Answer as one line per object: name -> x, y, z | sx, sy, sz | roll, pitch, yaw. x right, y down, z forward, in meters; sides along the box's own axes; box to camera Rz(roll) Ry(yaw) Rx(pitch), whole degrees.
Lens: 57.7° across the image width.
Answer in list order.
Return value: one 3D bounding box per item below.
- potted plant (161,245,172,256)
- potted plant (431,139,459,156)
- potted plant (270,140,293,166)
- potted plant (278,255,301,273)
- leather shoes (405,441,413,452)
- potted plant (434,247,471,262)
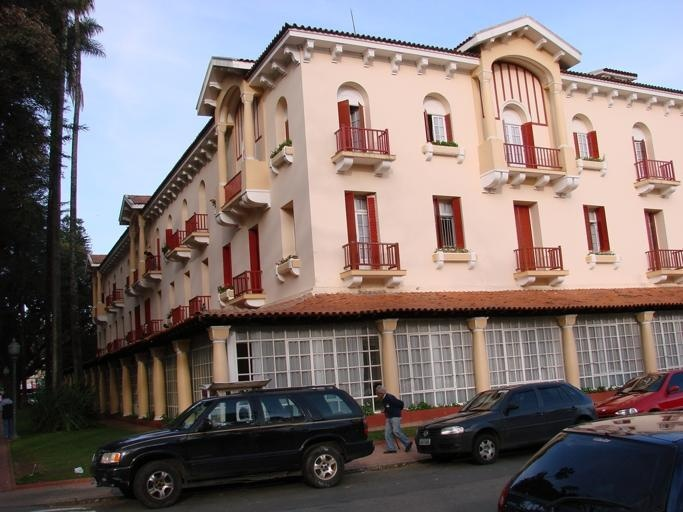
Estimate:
potted plant -> -10.193, -0.281, 35.781 | 0.650, 0.679, 0.655 | -1, -1, -36
potted plant -> 4.321, -4.503, 25.876 | 1.327, 0.663, 0.254 | 4, -15, -24
potted plant -> -2.414, -4.155, 25.000 | 0.327, 0.545, 1.116 | 4, -18, -21
potted plant -> -2.050, 0.366, 24.288 | 0.433, 0.659, 1.159 | 6, -16, -30
leather shoes -> 1.832, 5.233, 16.984 | 0.182, 0.227, 0.538 | -1, 1, 15
potted plant -> 4.499, -0.027, 25.190 | 1.660, 0.584, 0.343 | 3, -15, -24
